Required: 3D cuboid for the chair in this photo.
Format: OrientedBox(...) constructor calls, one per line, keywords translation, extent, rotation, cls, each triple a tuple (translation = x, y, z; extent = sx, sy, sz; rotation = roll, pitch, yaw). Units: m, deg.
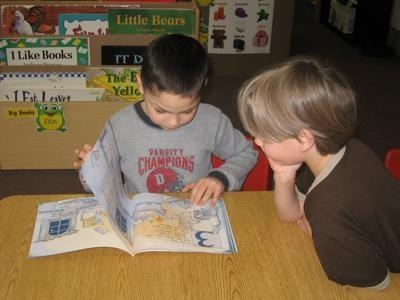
OrientedBox(translation=(0.242, 0.051, 1.688), extent=(0.260, 0.333, 0.226), rotation=(4, 4, 23), cls="chair")
